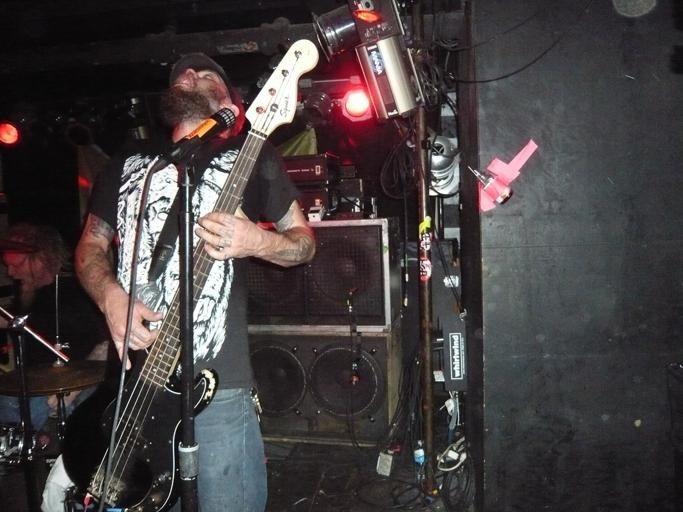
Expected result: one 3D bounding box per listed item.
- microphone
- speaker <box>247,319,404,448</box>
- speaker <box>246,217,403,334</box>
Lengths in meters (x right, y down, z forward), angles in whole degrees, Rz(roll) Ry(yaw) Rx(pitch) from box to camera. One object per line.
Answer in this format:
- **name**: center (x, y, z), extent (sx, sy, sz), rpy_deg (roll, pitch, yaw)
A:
- **microphone**: center (-0.696, -0.643, 3.882), extent (0.143, 0.180, 0.644), rpy_deg (-18, 22, 42)
- **speaker**: center (-0.035, 0.917, 6.452), extent (1.397, 1.511, 0.898), rpy_deg (0, 0, 12)
- **speaker**: center (-0.256, 0.033, 6.381), extent (1.314, 0.998, 0.820), rpy_deg (-3, 22, -5)
